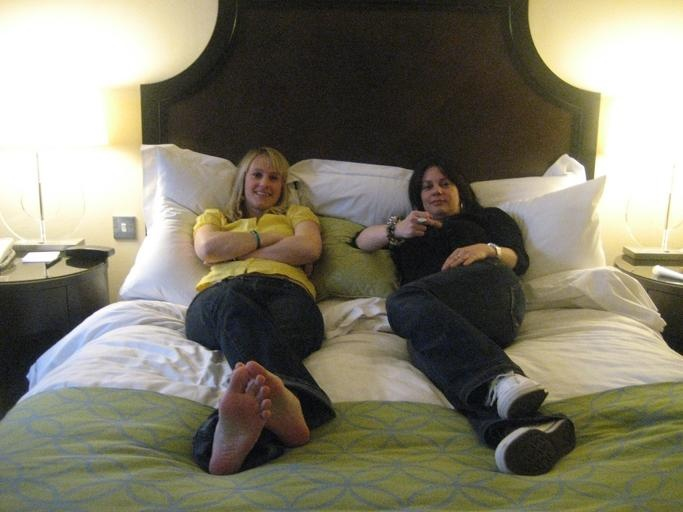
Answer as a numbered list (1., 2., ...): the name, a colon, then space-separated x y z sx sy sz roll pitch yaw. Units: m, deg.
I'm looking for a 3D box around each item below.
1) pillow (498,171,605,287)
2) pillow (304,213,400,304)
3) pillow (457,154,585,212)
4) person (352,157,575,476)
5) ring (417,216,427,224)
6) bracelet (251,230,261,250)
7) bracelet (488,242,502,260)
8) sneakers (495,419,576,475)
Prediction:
1. pillow: 0.960 -0.110 2.460 0.508 0.255 0.417 -7 60 17
2. pillow: 0.032 -0.007 2.334 0.373 0.111 0.351 1 48 -6
3. pillow: 0.980 -0.368 2.766 0.462 0.136 0.318 -10 35 8
4. person: 0.439 0.112 2.275 0.685 0.867 1.510 -19 51 16
5. ring: 0.345 -0.153 2.296 0.030 0.025 0.007 3 -14 25
6. bracelet: -0.368 -0.074 2.301 0.023 0.064 0.072 -9 19 -22
7. bracelet: 0.666 -0.021 2.298 0.065 0.022 0.063 24 33 12
8. sneakers: 0.560 0.546 1.593 0.253 0.105 0.098 -14 -1 -33
